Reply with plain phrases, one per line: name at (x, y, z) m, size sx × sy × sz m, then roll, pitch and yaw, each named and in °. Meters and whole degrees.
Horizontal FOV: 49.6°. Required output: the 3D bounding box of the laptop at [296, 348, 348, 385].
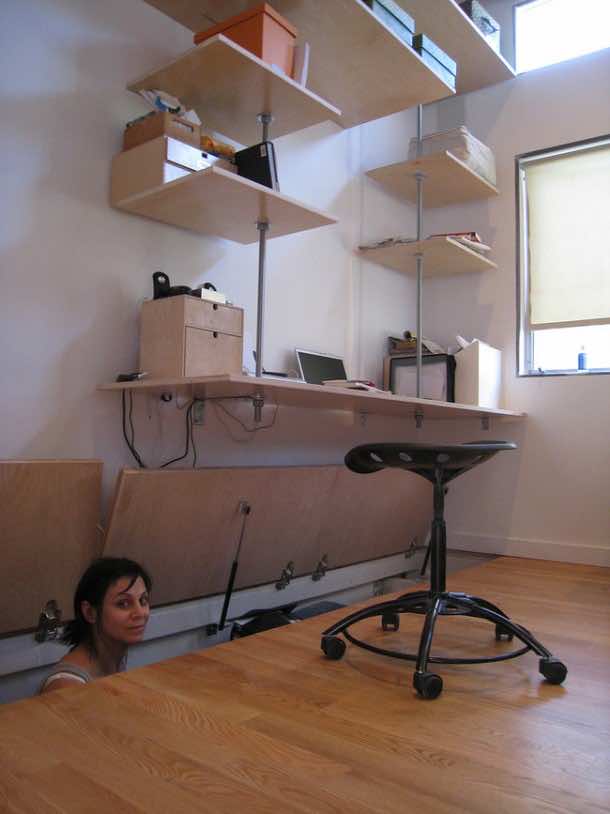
laptop at (0.074, -0.177, 2.939) m, size 0.176 × 0.135 × 0.235 m, roll -4°, pitch -4°, yaw 34°

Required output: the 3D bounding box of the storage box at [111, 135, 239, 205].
storage box at (-0.471, -0.725, 2.074) m, size 0.212 × 0.138 × 0.306 m, roll -5°, pitch -2°, yaw 35°

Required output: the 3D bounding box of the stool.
stool at (0.321, 0.326, 1.614) m, size 0.560 × 0.493 × 0.537 m, roll 0°, pitch -6°, yaw -33°

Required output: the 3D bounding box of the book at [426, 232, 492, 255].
book at (0.796, -0.839, 3.398) m, size 0.296 × 0.081 × 0.216 m, roll 2°, pitch 2°, yaw -44°

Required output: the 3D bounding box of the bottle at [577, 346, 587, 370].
bottle at (1.463, -0.255, 3.495) m, size 0.045 × 0.138 × 0.067 m, roll -2°, pitch -7°, yaw 32°

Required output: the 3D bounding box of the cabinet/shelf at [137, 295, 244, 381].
cabinet/shelf at (-0.321, -0.165, 2.055) m, size 0.262 × 0.271 × 0.341 m, roll -3°, pitch -5°, yaw 32°
